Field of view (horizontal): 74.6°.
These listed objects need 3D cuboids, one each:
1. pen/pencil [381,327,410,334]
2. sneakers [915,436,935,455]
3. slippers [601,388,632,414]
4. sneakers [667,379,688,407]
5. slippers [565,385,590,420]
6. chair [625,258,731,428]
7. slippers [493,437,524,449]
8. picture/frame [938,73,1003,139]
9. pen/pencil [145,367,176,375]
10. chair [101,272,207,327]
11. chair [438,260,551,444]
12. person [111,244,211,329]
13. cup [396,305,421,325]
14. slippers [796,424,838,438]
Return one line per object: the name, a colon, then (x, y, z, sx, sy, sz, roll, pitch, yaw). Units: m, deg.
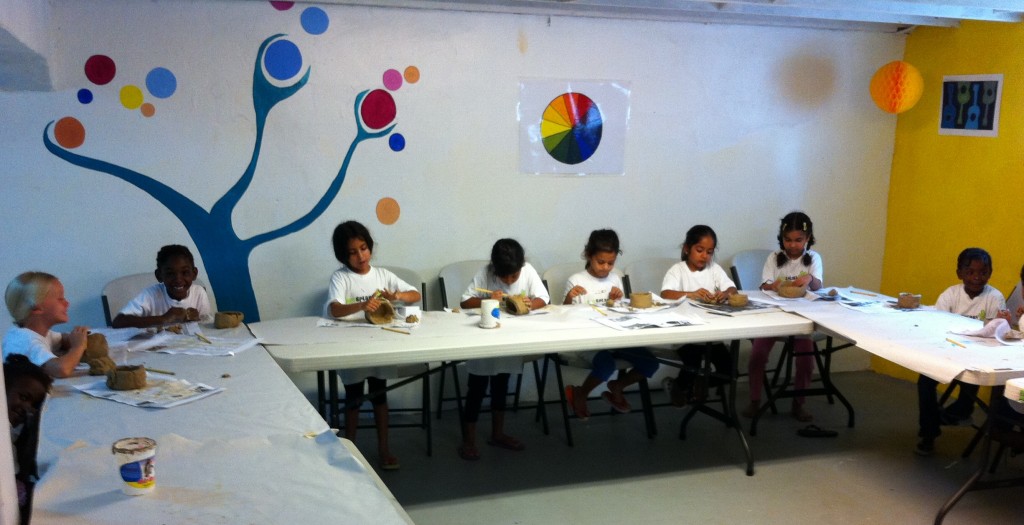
pen/pencil: (-0.857, 0.503, 4.954, 0.186, 0.019, 0.022, 6, 3, 15)
sneakers: (3.335, 1.489, 5.469, 0.215, 0.084, 0.089, 0, 3, -43)
slippers: (0.850, 1.175, 5.745, 0.189, 0.147, 0.327, 0, 8, -30)
sneakers: (1.388, 1.102, 5.744, 0.157, 0.236, 0.098, -23, -4, 2)
slippers: (0.568, 1.155, 5.660, 0.135, 0.348, 0.137, -25, -11, 41)
chair: (1.636, 0.472, 5.832, 0.872, 1.568, 0.864, 1, 4, 13)
slippers: (-0.035, 1.502, 5.566, 0.191, 0.051, 0.113, 0, 3, 11)
picture/frame: (4.256, -1.465, 6.249, 0.684, 0.695, 0.053, 6, 6, 44)
pen/pencil: (-2.342, 0.724, 4.485, 0.171, 0.022, 0.026, 7, 4, 10)
chair: (-2.853, 0.249, 5.398, 0.609, 0.710, 0.523, -2, -1, -26)
chair: (-0.075, 0.721, 5.522, 0.868, 1.691, 0.931, 1, 2, -6)
person: (-2.650, 0.249, 5.241, 0.711, 0.721, 0.539, -8, 10, -43)
cup: (-0.784, 0.402, 5.149, 0.162, 0.107, 0.125, 0, 1, 30)
slippers: (2.563, 1.441, 5.695, 0.170, 0.045, 0.159, 0, 1, -5)
